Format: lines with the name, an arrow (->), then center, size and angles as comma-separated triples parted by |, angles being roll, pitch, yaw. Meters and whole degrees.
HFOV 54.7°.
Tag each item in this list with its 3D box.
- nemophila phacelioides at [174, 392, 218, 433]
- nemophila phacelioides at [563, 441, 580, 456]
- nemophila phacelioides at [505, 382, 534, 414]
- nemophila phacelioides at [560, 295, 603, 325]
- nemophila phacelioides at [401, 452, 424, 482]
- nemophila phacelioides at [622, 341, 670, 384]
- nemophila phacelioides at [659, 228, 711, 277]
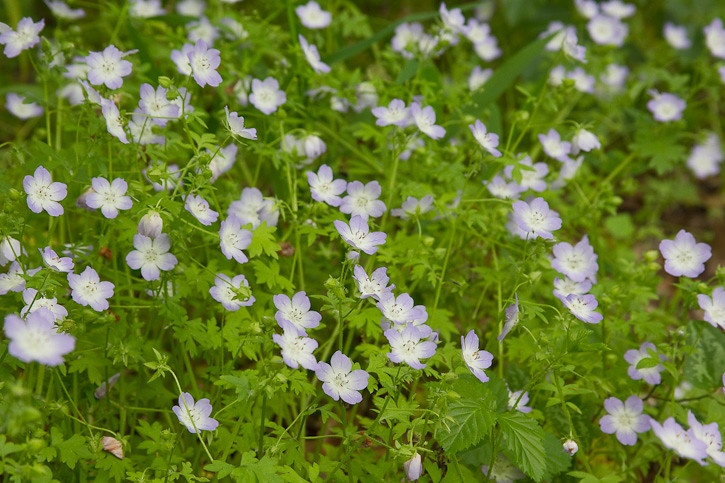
nemophila phacelioides -> -0.657, 0.685, 2.770 | 0.153, 0.076, 0.186 | 4, 65, -28
nemophila phacelioides -> 0.842, 0.846, 2.843 | 0.048, 0.074, 0.067 | 0, 56, -2
nemophila phacelioides -> 0.686, 0.688, 3.048 | 0.123, 0.062, 0.135 | 27, 44, 14
nemophila phacelioides -> 0.890, 0.278, 2.858 | 0.166, 0.051, 0.129 | -5, 70, -12
nemophila phacelioides -> 0.197, 0.876, 2.747 | 0.072, 0.042, 0.110 | 17, 95, -4
nemophila phacelioides -> 1.189, 0.504, 2.967 | 0.152, 0.048, 0.195 | -9, 88, -9
nemophila phacelioides -> 1.398, 0.040, 3.042 | 0.179, 0.192, 0.071 | 20, 73, 1
